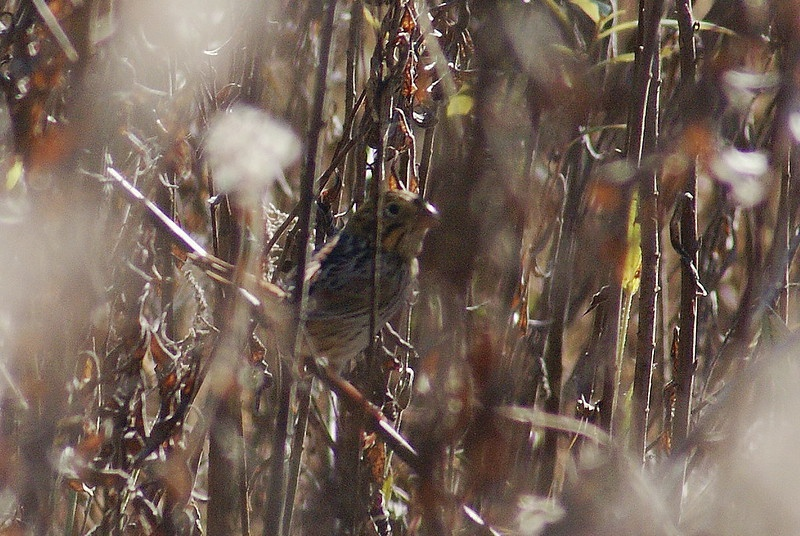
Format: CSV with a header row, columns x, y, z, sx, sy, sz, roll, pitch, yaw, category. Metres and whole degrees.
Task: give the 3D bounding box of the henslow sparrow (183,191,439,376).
x,y,z,sx,sy,sz,roll,pitch,yaw,category
-0.132,0.035,2.954,0.420,0.560,0.233,14,24,23,henslow sparrow
